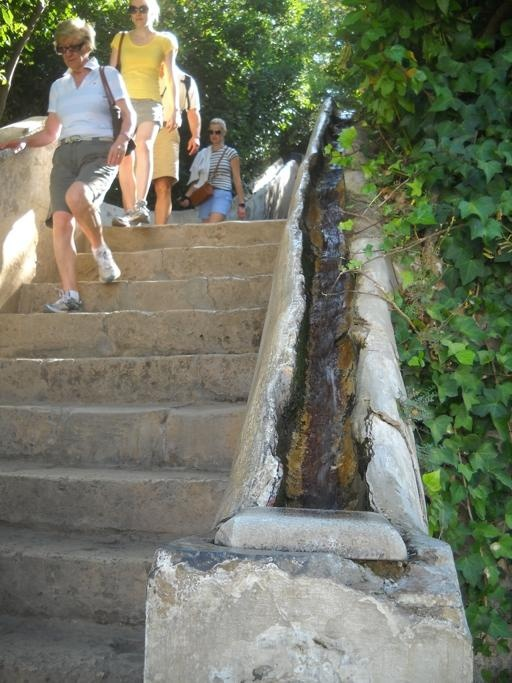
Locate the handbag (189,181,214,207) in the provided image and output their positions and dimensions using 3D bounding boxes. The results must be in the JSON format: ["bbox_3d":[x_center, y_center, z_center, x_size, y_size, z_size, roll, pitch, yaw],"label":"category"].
[{"bbox_3d":[-0.415,-1.144,6.311,0.083,0.200,0.182,38,40,-21],"label":"handbag"}]

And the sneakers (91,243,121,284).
[{"bbox_3d":[-0.744,-0.378,4.114,0.112,0.236,0.108,-26,1,-11],"label":"sneakers"}]

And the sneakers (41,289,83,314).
[{"bbox_3d":[-0.933,-0.190,3.963,0.212,0.115,0.073,2,7,-27],"label":"sneakers"}]

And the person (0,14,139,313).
[{"bbox_3d":[-0.926,-0.859,4.100,0.604,1.355,0.995,2,33,-9],"label":"person"}]

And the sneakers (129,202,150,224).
[{"bbox_3d":[-0.725,-0.791,5.027,0.134,0.136,0.326,-2,9,-6],"label":"sneakers"}]

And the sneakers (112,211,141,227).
[{"bbox_3d":[-0.800,-0.763,5.064,0.225,0.089,0.073,0,4,-9],"label":"sneakers"}]

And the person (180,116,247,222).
[{"bbox_3d":[-0.316,-1.165,6.310,0.483,1.121,0.380,3,-8,-1],"label":"person"}]

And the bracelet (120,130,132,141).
[{"bbox_3d":[-0.646,-1.016,4.051,0.049,0.019,0.054,5,-4,-34],"label":"bracelet"}]
